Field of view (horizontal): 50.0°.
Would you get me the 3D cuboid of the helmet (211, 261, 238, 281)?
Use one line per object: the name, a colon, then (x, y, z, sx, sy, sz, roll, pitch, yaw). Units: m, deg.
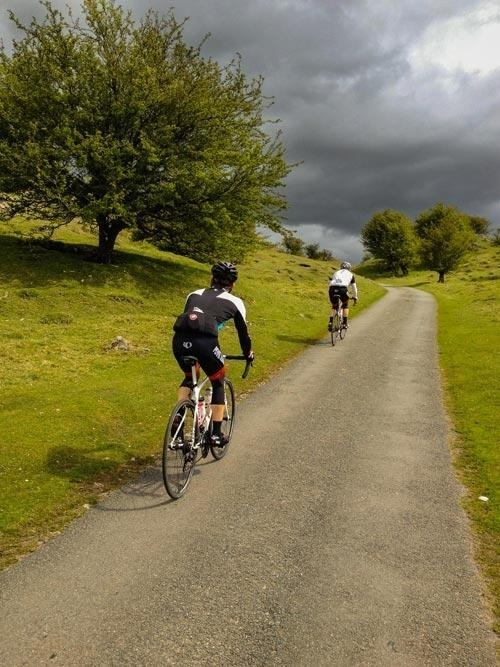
helmet: (-0.342, -0.847, 7.251, 0.236, 0.295, 0.310, 5, 22, 4)

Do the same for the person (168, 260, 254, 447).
person: (-0.517, 0.507, 7.087, 0.856, 2.838, 1.435, 4, 13, 15)
